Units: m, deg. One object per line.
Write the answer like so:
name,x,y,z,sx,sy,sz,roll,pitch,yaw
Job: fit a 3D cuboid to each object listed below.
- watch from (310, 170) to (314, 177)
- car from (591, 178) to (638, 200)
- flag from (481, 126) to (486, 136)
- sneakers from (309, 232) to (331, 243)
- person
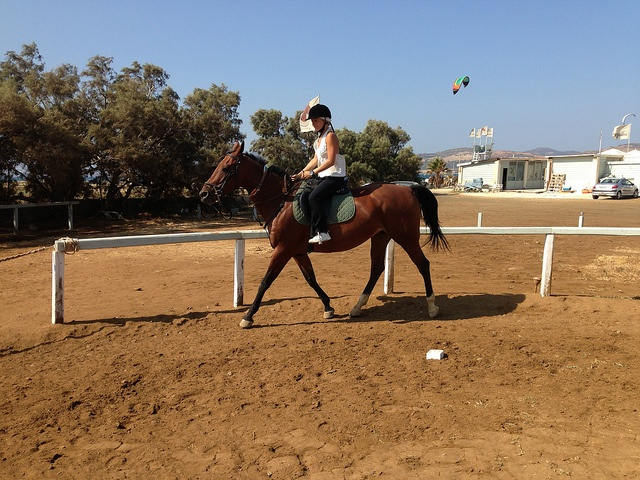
watch,-0.111,-0.920,6.896,0.043,0.074,0.068,-1,-2,4
car,21.867,-3.784,36.081,2.807,1.398,1.603,-11,11,-29
flag,22.563,-14.702,67.188,0.709,0.950,1.710,1,9,16
sneakers,0.013,-0.031,6.925,0.335,0.260,0.121,-2,4,-5
person,0.013,-0.918,6.912,0.709,1.954,0.618,-1,7,4
